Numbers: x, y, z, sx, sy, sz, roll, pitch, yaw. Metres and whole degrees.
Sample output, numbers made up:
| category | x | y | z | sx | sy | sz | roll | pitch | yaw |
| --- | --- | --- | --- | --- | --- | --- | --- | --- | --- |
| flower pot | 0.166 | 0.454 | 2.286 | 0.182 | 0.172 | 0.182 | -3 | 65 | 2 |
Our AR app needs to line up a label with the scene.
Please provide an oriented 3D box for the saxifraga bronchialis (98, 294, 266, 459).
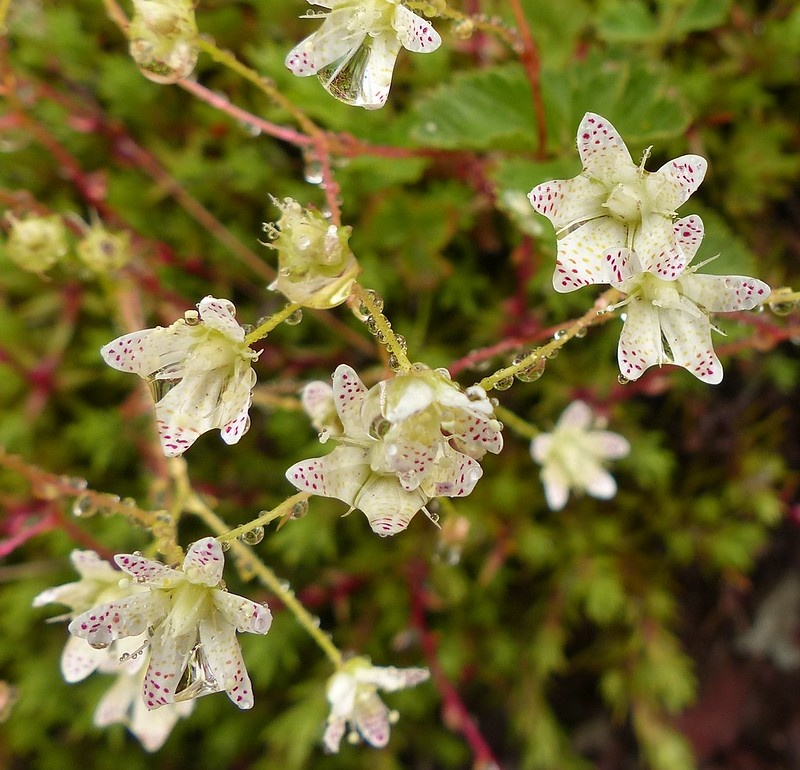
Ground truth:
| category | x | y | z | sx | sy | sz | roll | pitch | yaw |
| --- | --- | --- | --- | --- | --- | --- | --- | --- | --- |
| saxifraga bronchialis | -0.433 | -0.009 | 2.059 | 0.279 | 0.098 | 0.309 | -30 | 82 | -3 |

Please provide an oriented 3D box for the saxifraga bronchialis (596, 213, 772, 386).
| category | x | y | z | sx | sy | sz | roll | pitch | yaw |
| --- | --- | --- | --- | --- | --- | --- | --- | --- | --- |
| saxifraga bronchialis | 0.613 | -0.161 | 2.114 | 0.372 | 0.175 | 0.345 | -41 | 56 | -21 |

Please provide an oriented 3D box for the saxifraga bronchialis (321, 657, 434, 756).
| category | x | y | z | sx | sy | sz | roll | pitch | yaw |
| --- | --- | --- | --- | --- | --- | --- | --- | --- | --- |
| saxifraga bronchialis | -0.063 | 0.744 | 2.247 | 0.221 | 0.191 | 0.206 | 8 | 81 | 3 |

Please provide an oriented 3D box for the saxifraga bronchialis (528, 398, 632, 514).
| category | x | y | z | sx | sy | sz | roll | pitch | yaw |
| --- | --- | --- | --- | --- | --- | --- | --- | --- | --- |
| saxifraga bronchialis | 0.486 | 0.182 | 2.688 | 0.258 | 0.484 | 0.286 | -15 | 80 | 0 |

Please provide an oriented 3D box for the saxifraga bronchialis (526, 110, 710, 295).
| category | x | y | z | sx | sy | sz | roll | pitch | yaw |
| --- | --- | --- | --- | --- | --- | --- | --- | --- | --- |
| saxifraga bronchialis | 0.458 | -0.399 | 2.078 | 0.363 | 0.178 | 0.342 | -15 | 81 | -1 |

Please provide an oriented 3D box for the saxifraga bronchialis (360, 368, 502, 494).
| category | x | y | z | sx | sy | sz | roll | pitch | yaw |
| --- | --- | --- | --- | --- | --- | --- | --- | --- | --- |
| saxifraga bronchialis | 0.057 | 0.091 | 1.997 | 0.282 | 0.165 | 0.255 | 33 | 84 | 6 |
